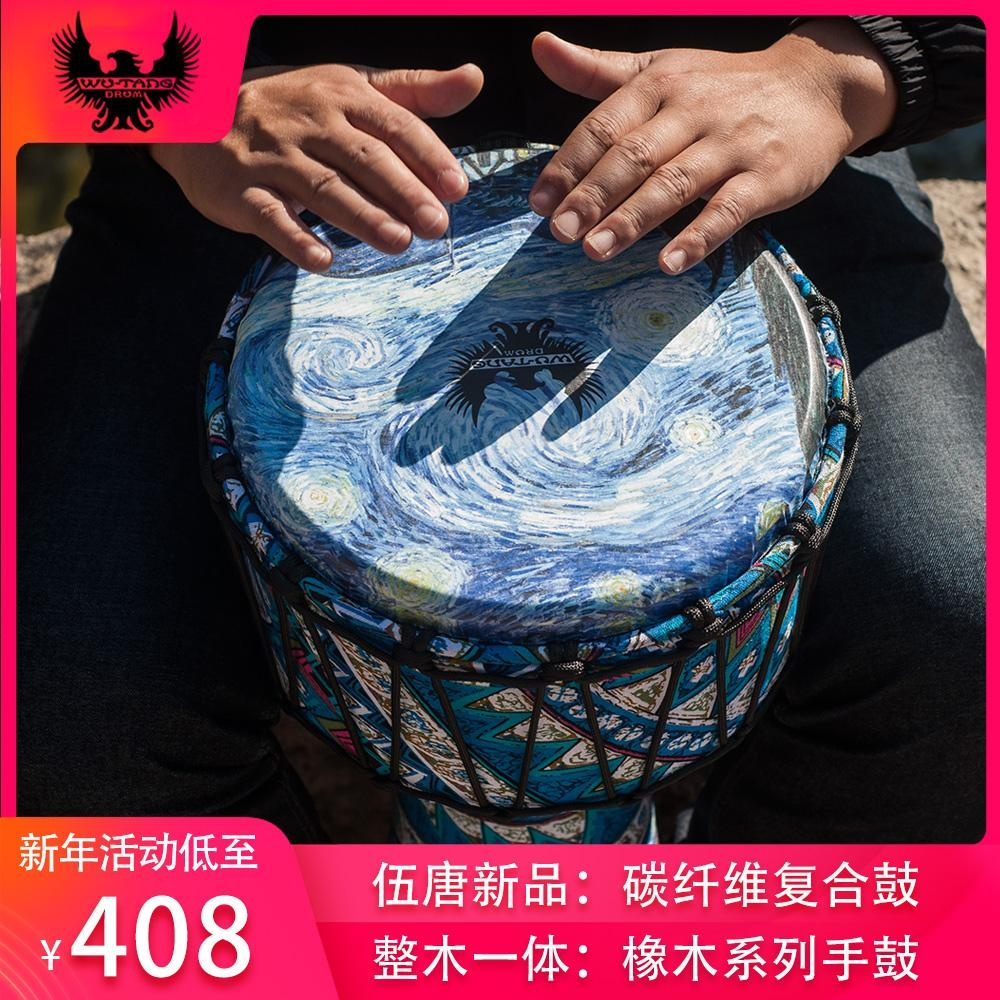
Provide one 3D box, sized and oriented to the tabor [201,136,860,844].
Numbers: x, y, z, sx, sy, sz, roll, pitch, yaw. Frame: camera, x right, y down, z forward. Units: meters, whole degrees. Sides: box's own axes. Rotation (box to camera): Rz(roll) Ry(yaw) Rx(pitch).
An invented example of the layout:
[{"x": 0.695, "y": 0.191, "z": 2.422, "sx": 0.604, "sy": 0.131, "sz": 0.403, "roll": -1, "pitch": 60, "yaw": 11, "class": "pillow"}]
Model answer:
[{"x": 0.007, "y": -0.127, "z": 1.726, "sx": 0.711, "sy": 0.504, "sz": 0.850, "roll": -27, "pitch": -1, "yaw": -4, "class": "tabor"}]
